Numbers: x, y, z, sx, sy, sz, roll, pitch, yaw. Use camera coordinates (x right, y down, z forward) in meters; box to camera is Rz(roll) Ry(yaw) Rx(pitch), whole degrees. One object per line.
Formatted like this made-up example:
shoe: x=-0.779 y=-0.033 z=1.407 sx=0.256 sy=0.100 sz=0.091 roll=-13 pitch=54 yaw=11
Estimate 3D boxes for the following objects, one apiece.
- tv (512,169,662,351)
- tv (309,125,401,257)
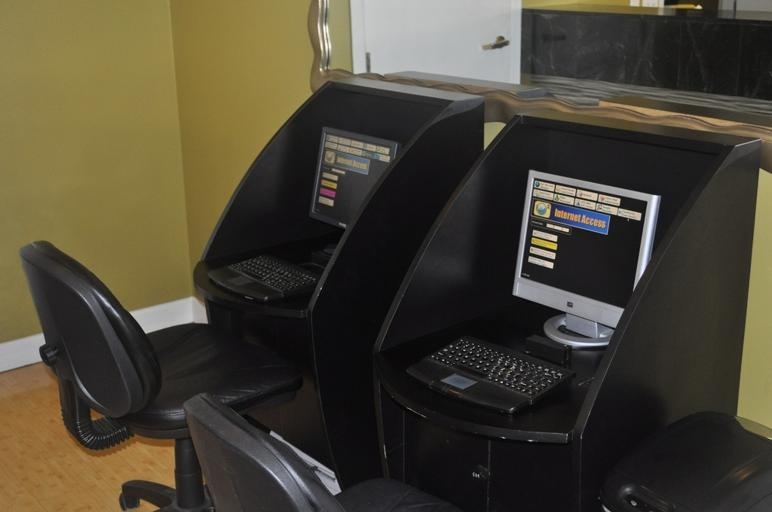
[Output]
tv: x=0.655 y=0.009 z=1.957 sx=0.260 sy=0.459 sz=0.468 roll=-20 pitch=27 yaw=-40
tv: x=-0.115 y=-0.278 z=2.488 sx=0.437 sy=0.456 sz=0.048 roll=32 pitch=15 yaw=30
